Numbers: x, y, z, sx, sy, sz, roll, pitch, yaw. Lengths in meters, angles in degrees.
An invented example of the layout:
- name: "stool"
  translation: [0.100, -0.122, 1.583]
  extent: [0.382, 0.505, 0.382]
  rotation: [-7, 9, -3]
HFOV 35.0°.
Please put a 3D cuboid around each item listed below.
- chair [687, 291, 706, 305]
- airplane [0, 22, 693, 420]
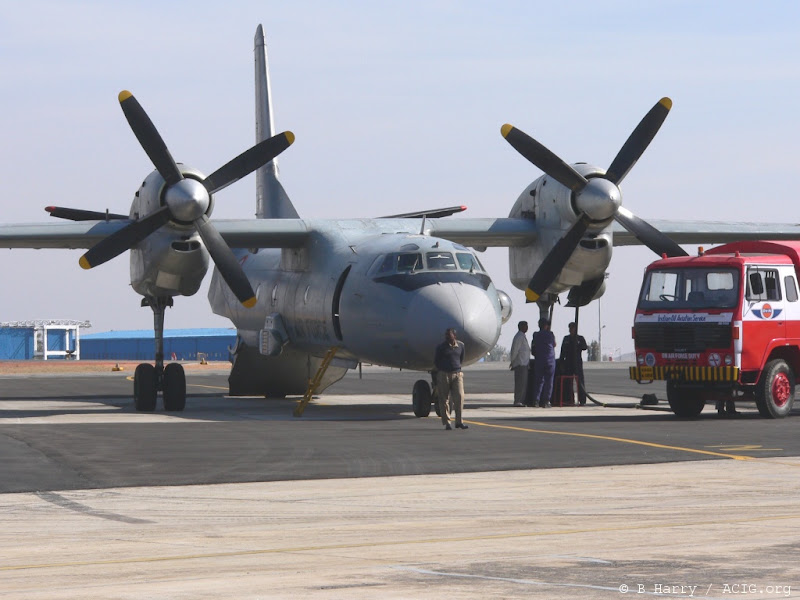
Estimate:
- name: "chair"
  translation: [5.168, -0.029, 22.166]
  extent: [0.260, 0.253, 0.237]
  rotation: [0, -6, 4]
- name: "airplane"
  translation: [-1.457, -0.656, 24.829]
  extent: [11.329, 5.289, 9.094]
  rotation: [0, 1, -26]
